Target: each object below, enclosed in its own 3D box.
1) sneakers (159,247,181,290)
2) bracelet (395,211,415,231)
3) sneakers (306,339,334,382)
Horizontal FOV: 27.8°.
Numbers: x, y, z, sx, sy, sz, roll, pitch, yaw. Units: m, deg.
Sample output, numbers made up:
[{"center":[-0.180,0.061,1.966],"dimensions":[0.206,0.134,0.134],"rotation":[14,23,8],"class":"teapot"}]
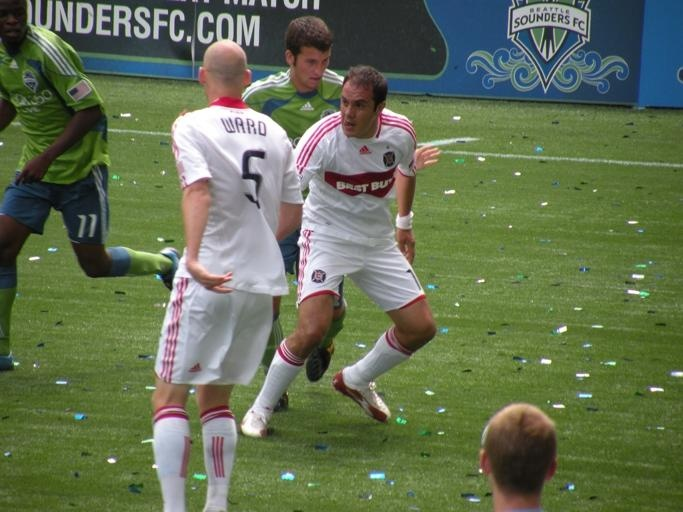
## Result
[{"center":[-1.398,0.114,11.083],"dimensions":[0.123,0.326,0.154],"rotation":[-11,19,20],"class":"sneakers"},{"center":[0.476,-0.259,10.731],"dimensions":[0.131,0.113,0.148],"rotation":[-1,3,-27],"class":"bracelet"},{"center":[-0.157,0.812,10.646],"dimensions":[0.178,0.366,0.139],"rotation":[-11,49,-45],"class":"sneakers"}]
